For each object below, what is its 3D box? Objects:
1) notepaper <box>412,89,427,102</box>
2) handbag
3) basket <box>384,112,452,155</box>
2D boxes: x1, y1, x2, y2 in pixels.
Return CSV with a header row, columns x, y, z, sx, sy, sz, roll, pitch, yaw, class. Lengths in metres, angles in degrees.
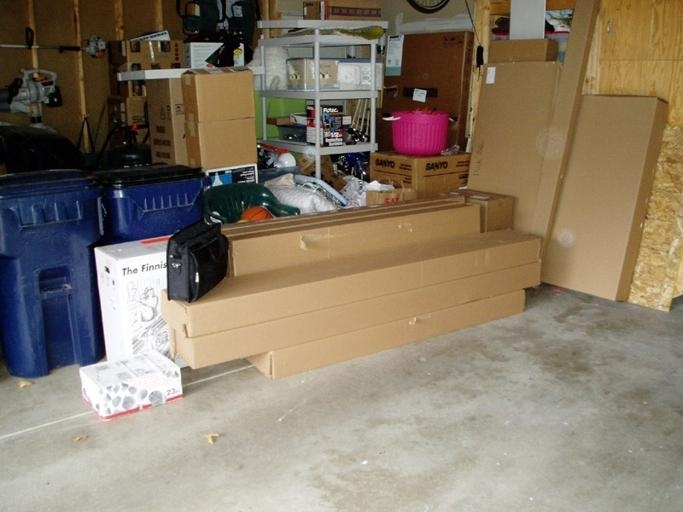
x,y,z,sx,sy,sz,roll,pitch,yaw,class
0.827,-1.705,5.559,0.023,0.113,0.153,-16,30,-39,notepaper
-0.722,0.013,2.659,0.197,0.305,0.399,7,20,10,handbag
0.696,-1.102,4.705,0.659,0.343,0.459,-4,13,-20,basket
